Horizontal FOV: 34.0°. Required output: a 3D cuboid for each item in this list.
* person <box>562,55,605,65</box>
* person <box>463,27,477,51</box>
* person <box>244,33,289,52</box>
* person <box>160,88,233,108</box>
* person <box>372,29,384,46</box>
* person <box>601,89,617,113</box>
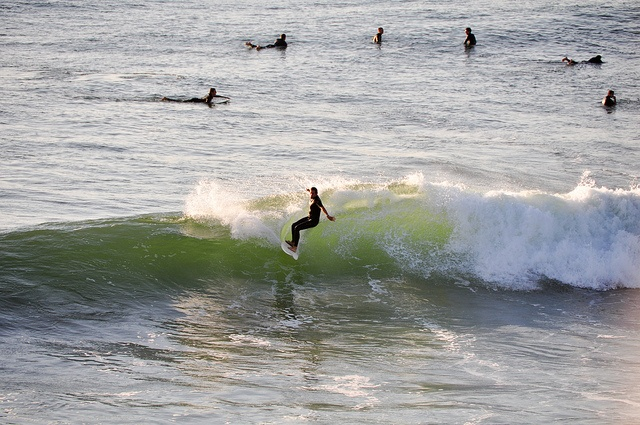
[{"bbox_3d":[14.452,-8.295,57.310,1.991,0.549,0.524,-6,-32,10],"label":"person"},{"bbox_3d":[8.620,-9.943,60.102,0.787,1.204,1.677,0,11,8],"label":"person"},{"bbox_3d":[-3.053,-9.802,60.854,2.194,0.612,1.160,-3,12,-10],"label":"person"},{"bbox_3d":[-5.943,-5.600,51.027,3.017,0.794,1.236,-2,11,-4],"label":"person"},{"bbox_3d":[3.375,-10.290,61.266,0.610,0.906,1.179,-2,11,2],"label":"person"},{"bbox_3d":[14.182,-5.427,51.169,0.709,0.472,1.494,9,23,16],"label":"person"}]
